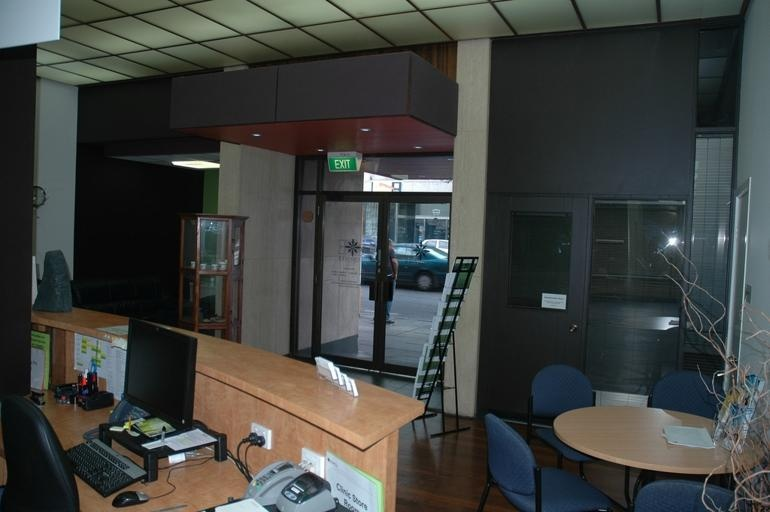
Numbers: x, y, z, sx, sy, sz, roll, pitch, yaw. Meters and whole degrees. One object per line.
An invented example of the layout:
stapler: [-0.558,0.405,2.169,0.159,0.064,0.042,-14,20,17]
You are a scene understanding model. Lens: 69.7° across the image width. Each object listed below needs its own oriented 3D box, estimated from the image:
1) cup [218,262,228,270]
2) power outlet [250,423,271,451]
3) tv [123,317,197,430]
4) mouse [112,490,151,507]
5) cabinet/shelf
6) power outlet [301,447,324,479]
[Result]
cup: [-2.371,0.142,7.978,0.125,0.114,0.119,5,2,0]
power outlet: [-0.874,1.252,3.851,0.215,0.150,0.031,3,0,41]
tv: [-1.700,0.902,4.104,0.762,0.552,0.102,7,11,38]
mouse: [-1.697,1.584,3.641,0.182,0.058,0.104,-4,9,-30]
cabinet/shelf: [-2.535,0.329,8.006,0.903,1.857,0.448,-1,3,-20]
power outlet: [-0.471,1.332,3.561,0.194,0.162,0.062,-1,0,41]
